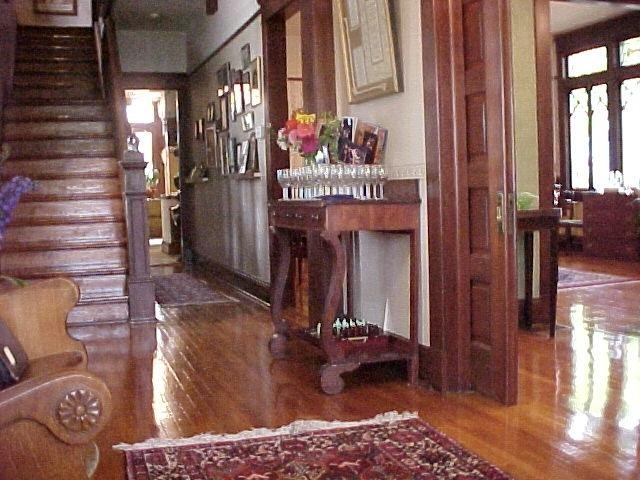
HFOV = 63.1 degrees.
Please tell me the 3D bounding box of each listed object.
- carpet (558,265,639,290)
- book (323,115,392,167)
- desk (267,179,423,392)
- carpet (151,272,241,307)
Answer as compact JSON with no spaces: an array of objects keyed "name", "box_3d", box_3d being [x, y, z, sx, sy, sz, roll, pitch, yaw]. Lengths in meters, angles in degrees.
[{"name":"carpet","box_3d":[3.707,0.482,6.952,0.973,0.072,1.717,1,6,25]},{"name":"book","box_3d":[0.234,-0.724,3.787,0.390,0.391,0.352,10,10,-29]},{"name":"desk","box_3d":[0.112,0.252,3.884,0.882,1.379,1.272,-3,5,-18]},{"name":"carpet","box_3d":[-1.773,0.659,7.186,0.968,0.059,2.214,-3,5,-19]}]
